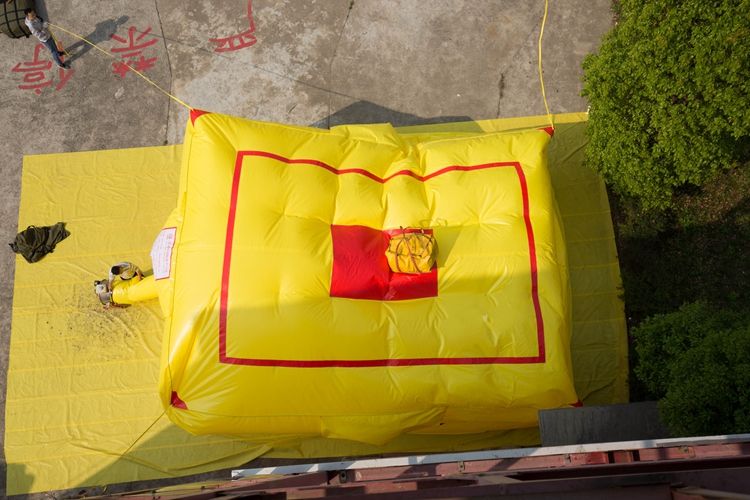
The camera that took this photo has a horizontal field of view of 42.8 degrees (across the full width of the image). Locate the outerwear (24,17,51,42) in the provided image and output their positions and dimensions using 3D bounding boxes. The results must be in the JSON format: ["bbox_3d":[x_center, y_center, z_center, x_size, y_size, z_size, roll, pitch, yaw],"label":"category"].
[{"bbox_3d":[-5.720,-3.736,16.273,0.281,0.516,0.300,-27,65,-14],"label":"outerwear"}]

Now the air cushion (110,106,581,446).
[{"bbox_3d":[-0.211,0.635,15.186,6.047,2.490,4.327,2,61,0],"label":"air cushion"}]
